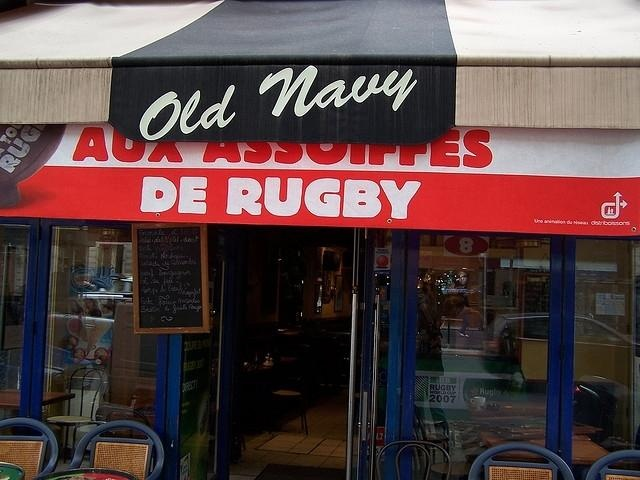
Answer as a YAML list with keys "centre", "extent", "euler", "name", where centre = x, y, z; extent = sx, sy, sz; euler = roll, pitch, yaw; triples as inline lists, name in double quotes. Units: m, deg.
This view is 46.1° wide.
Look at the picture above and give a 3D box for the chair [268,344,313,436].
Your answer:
- centre: [-0.407, 2.045, 10.405]
  extent: [0.728, 1.163, 0.787]
  euler: [-1, -8, 11]
  name: "chair"
